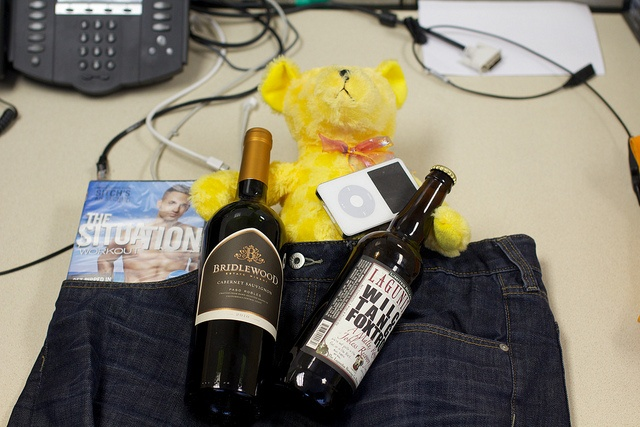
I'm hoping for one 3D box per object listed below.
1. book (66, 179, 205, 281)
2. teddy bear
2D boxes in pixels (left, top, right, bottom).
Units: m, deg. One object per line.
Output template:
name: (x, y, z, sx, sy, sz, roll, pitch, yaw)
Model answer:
book: (-0.288, 0.029, 0.898, 0.159, 0.017, 0.150, 5, 61, 1)
teddy bear: (0.031, -0.102, 0.998, 0.492, 0.291, 0.476, 1, 73, -8)
